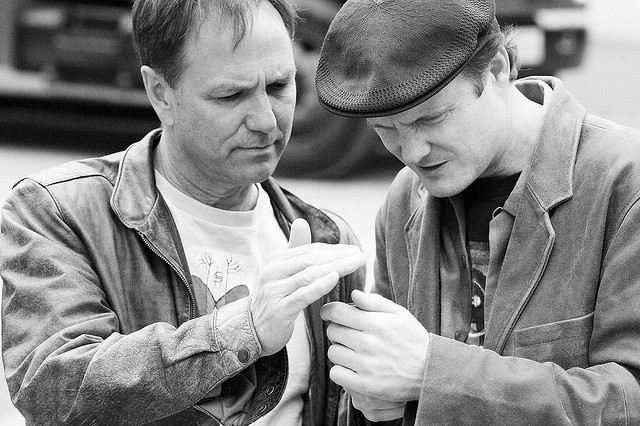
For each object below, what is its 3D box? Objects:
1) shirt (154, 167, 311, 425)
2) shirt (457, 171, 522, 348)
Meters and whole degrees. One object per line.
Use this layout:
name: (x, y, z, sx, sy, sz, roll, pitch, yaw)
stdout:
shirt: (-0.443, 0.471, 7.248, 0.692, 1.112, 1.028, -9, 33, -19)
shirt: (0.844, 0.223, 7.010, 0.310, 0.829, 0.467, 8, 31, 9)
